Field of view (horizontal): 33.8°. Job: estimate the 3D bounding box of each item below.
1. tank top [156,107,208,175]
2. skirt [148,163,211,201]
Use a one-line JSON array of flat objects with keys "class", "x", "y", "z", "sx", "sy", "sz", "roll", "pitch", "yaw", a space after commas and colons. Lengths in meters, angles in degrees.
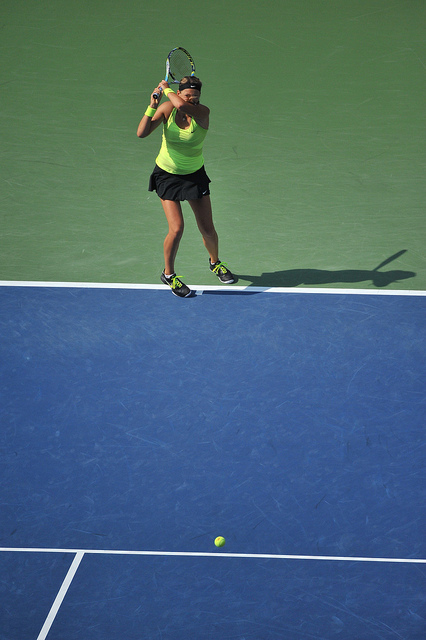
[{"class": "tank top", "x": -0.284, "y": -1.480, "z": 5.816, "sx": 0.364, "sy": 0.496, "sz": 0.343, "roll": -10, "pitch": 37, "yaw": -17}, {"class": "skirt", "x": -0.292, "y": -1.169, "z": 5.979, "sx": 0.591, "sy": 0.338, "sz": 0.314, "roll": 2, "pitch": 38, "yaw": -3}]
